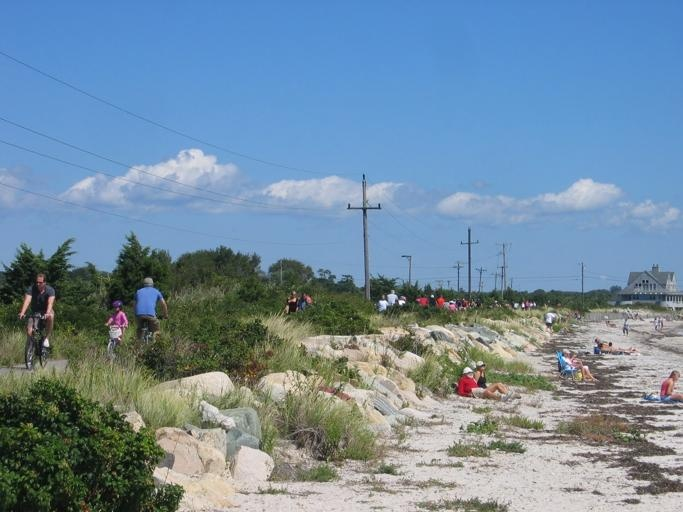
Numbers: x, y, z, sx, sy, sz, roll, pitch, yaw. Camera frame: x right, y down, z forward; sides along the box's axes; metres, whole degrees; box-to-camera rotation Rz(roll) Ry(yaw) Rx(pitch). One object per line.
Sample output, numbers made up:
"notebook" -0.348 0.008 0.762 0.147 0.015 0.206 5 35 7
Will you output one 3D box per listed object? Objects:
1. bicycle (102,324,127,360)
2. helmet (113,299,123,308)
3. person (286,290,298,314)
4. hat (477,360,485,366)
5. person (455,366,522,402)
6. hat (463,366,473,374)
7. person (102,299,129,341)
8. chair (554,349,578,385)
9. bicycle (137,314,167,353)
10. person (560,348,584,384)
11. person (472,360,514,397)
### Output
"bicycle" -5.328 1.906 22.248 0.431 0.593 1.025 1 -12 1
"helmet" -5.578 1.180 23.593 0.200 0.279 0.277 0 7 -13
"person" -1.668 1.513 31.892 0.365 0.841 1.088 1 -8 -4
"hat" 4.084 3.120 27.561 0.194 0.116 0.279 0 -3 -6
"person" 4.011 3.509 26.310 1.439 0.903 0.786 0 0 15
"hat" 3.572 3.211 26.887 0.184 0.107 0.252 0 1 -30
"person" -5.518 1.584 23.224 0.579 0.980 0.953 0 -8 -5
"chair" 7.985 3.953 33.381 0.721 0.978 0.669 2 5 15
"bicycle" -4.634 1.813 23.070 0.493 0.769 1.159 1 -1 -9
"person" 8.094 3.758 33.254 0.820 1.098 2.351 -1 -8 12
"person" 4.361 3.531 26.975 0.651 1.024 1.289 -11 12 -44
